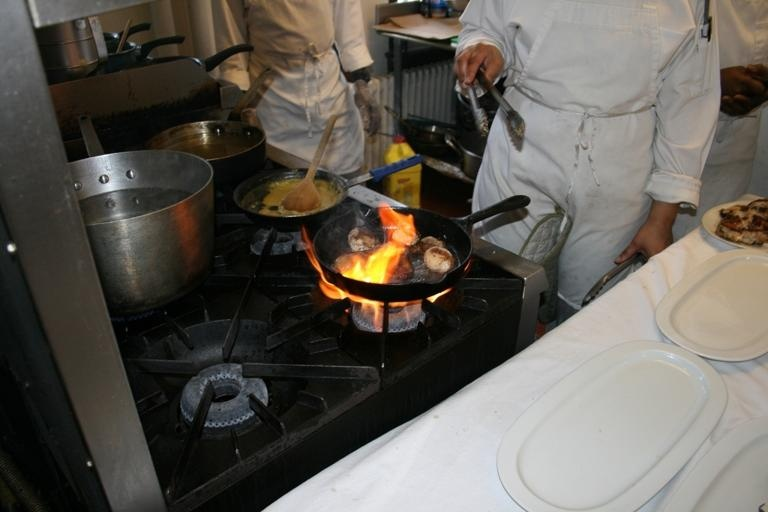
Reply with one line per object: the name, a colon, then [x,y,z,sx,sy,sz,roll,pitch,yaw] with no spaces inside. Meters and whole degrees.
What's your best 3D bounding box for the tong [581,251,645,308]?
tong: [0.656,0.058,1.728,0.273,0.050,0.081,-28,70,-23]
